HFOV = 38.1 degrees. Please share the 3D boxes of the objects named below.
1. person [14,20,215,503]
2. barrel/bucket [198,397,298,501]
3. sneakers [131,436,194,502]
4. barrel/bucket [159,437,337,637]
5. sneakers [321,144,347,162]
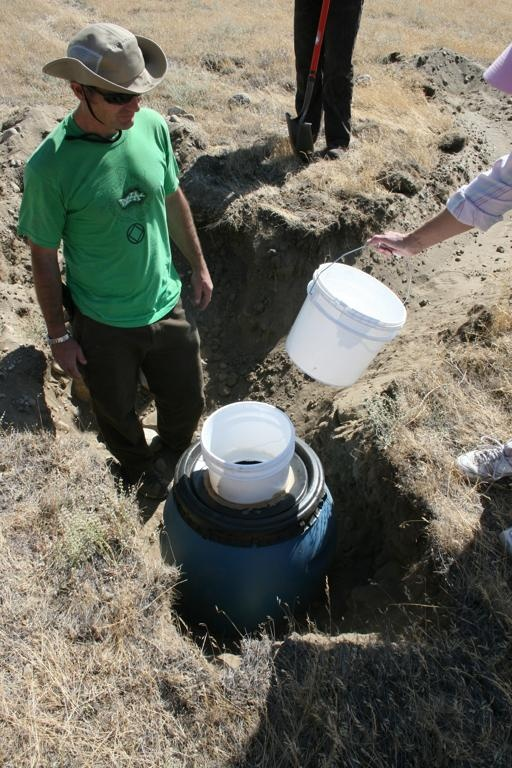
[{"bbox_3d":[-0.721,-0.369,3.846,0.938,2.707,0.397,-22,45,-33],"label":"person"},{"bbox_3d":[-0.021,0.362,3.564,0.497,0.350,0.452,-19,56,-12],"label":"barrel/bucket"},{"bbox_3d":[-0.598,0.546,4.679,0.186,0.232,0.537,8,36,-30],"label":"sneakers"},{"bbox_3d":[-0.070,0.686,3.756,0.852,0.785,0.826,1,26,0],"label":"barrel/bucket"},{"bbox_3d":[0.628,-1.853,5.972,0.188,0.066,0.132,0,53,18],"label":"sneakers"}]
